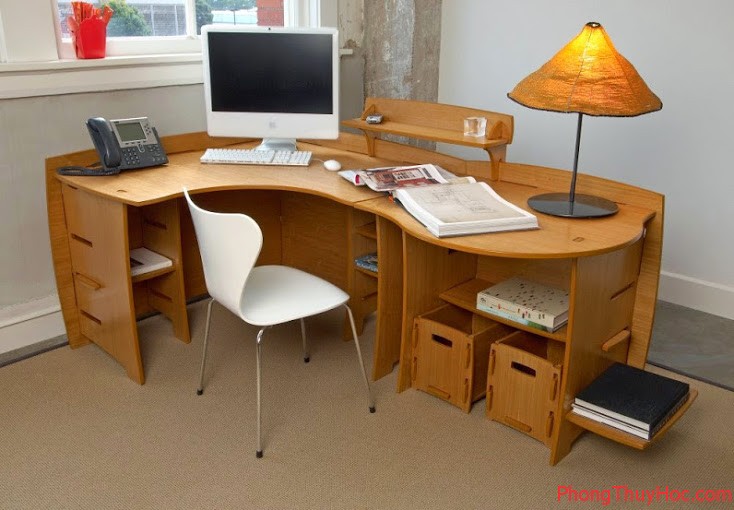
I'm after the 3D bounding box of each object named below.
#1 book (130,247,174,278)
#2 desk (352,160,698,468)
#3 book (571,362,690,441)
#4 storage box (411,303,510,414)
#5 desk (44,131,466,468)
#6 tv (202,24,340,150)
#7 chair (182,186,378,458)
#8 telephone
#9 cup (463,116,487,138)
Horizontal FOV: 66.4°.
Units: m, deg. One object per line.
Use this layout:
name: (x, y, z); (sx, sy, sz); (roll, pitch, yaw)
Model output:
book: (-1.064, 0.038, 2.730); (0.152, 0.033, 0.160); (-17, 31, -40)
desk: (0.709, 0.212, 2.376); (0.709, 0.973, 1.271); (-24, 29, -38)
book: (1.019, 0.558, 2.165); (0.374, 0.094, 0.278); (-20, 33, -35)
storage box: (0.441, 0.416, 2.596); (0.358, 0.323, 0.510); (14, 21, 35)
desk: (-0.480, -0.108, 3.121); (1.933, 0.958, 1.301); (1, 21, -5)
tv: (-0.484, -0.861, 2.835); (0.691, 0.557, 0.239); (0, 18, 0)
chair: (-0.389, 0.338, 2.580); (0.709, 1.055, 0.675); (-17, 33, -32)
telephone: (-1.169, -0.550, 2.741); (0.316, 0.246, 0.189); (-13, 29, -25)
cup: (0.511, -0.608, 2.658); (0.109, 0.080, 0.087); (9, 26, 22)
